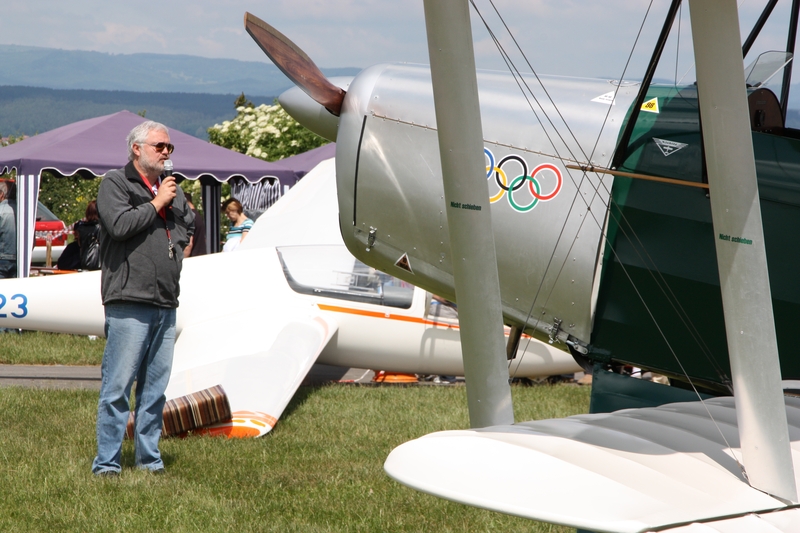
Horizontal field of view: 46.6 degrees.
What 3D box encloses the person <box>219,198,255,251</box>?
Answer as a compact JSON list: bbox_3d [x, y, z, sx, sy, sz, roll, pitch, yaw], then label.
[{"bbox_3d":[-2.176,-0.333,12.200,0.374,1.134,0.602,2,2,-23],"label":"person"}]
